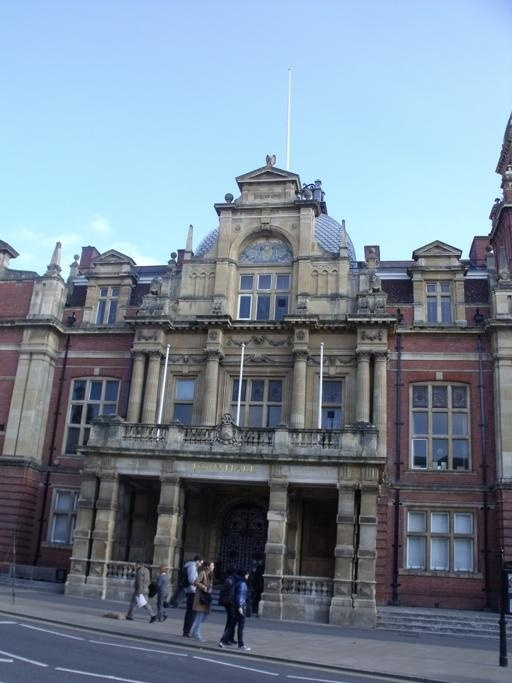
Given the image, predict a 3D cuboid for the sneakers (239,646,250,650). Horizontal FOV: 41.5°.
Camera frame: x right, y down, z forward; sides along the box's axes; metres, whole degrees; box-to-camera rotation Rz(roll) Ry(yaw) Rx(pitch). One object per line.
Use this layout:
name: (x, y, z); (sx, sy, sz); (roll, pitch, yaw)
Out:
sneakers: (-0.233, 6.207, 13.621); (0.116, 0.122, 0.297); (22, -27, -10)
